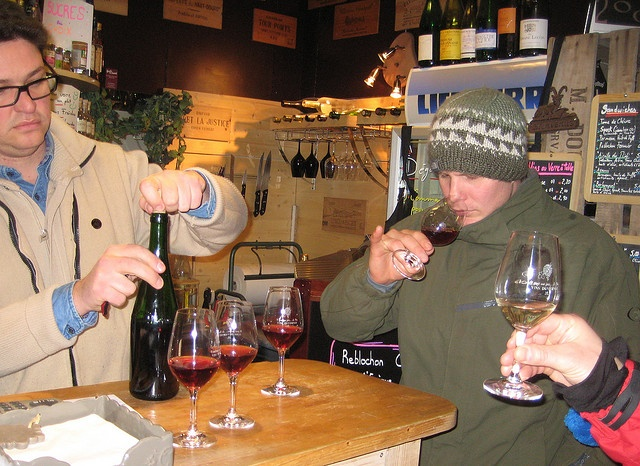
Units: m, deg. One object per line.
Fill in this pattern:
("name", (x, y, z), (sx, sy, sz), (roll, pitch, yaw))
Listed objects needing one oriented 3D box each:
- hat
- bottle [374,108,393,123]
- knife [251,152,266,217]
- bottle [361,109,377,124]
("hat", (0.600, -0.416, 2.189), (0.369, 0.364, 0.381), (1, 16, -5))
("bottle", (0.494, -0.926, 4.081), (0.094, 0.116, 0.121), (-3, -35, 8))
("knife", (-0.681, -0.543, 5.914), (0.108, 0.766, 0.058), (3, -11, 45))
("bottle", (0.398, -0.934, 4.202), (0.126, 0.123, 0.078), (2, -2, 33))
